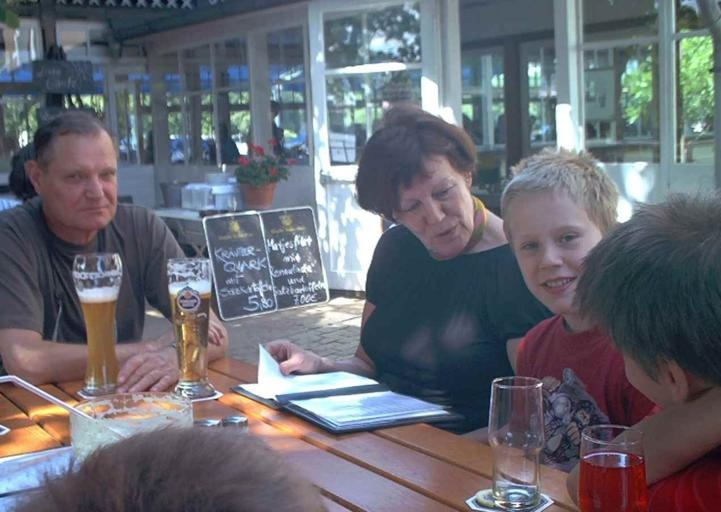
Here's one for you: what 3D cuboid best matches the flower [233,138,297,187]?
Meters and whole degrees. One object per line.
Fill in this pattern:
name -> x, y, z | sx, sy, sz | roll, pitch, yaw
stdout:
flower -> -1.096, -1.036, 7.400 | 0.573, 0.503, 0.589 | -1, 9, 4

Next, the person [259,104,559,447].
person -> 0.234, 0.038, 2.623 | 0.862, 1.192, 1.542 | -5, 10, -40

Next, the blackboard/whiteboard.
blackboard/whiteboard -> -0.951, 0.107, 6.506 | 1.204, 0.967, 0.043 | -6, -12, -39

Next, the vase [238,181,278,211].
vase -> -1.156, -0.655, 7.309 | 0.342, 0.235, 0.346 | 0, 1, -5

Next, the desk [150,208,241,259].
desk -> -2.133, -0.200, 8.052 | 0.780, 0.748, 0.763 | -8, 13, -41
